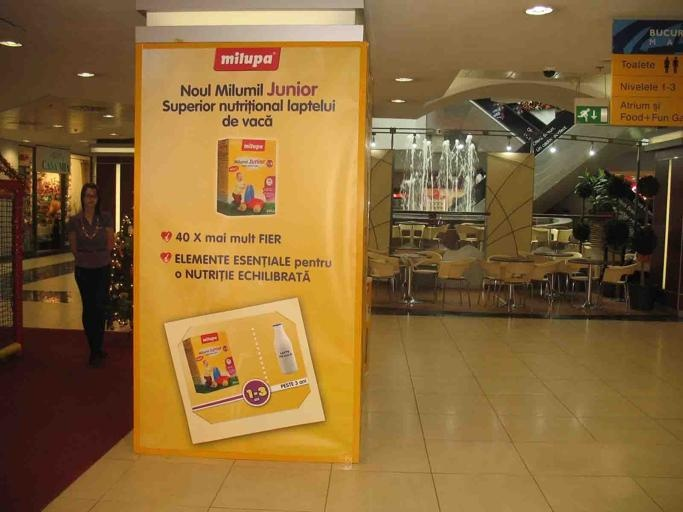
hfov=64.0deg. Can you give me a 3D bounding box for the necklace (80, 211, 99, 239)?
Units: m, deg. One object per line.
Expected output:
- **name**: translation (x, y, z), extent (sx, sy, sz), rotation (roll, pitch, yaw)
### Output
- **necklace**: translation (-2.503, -0.310, 5.449), extent (0.134, 0.254, 0.059), rotation (-2, -5, -15)

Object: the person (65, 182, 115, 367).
- **person**: translation (-2.553, 0.166, 5.545), extent (0.361, 1.780, 0.435), rotation (3, 11, 5)
